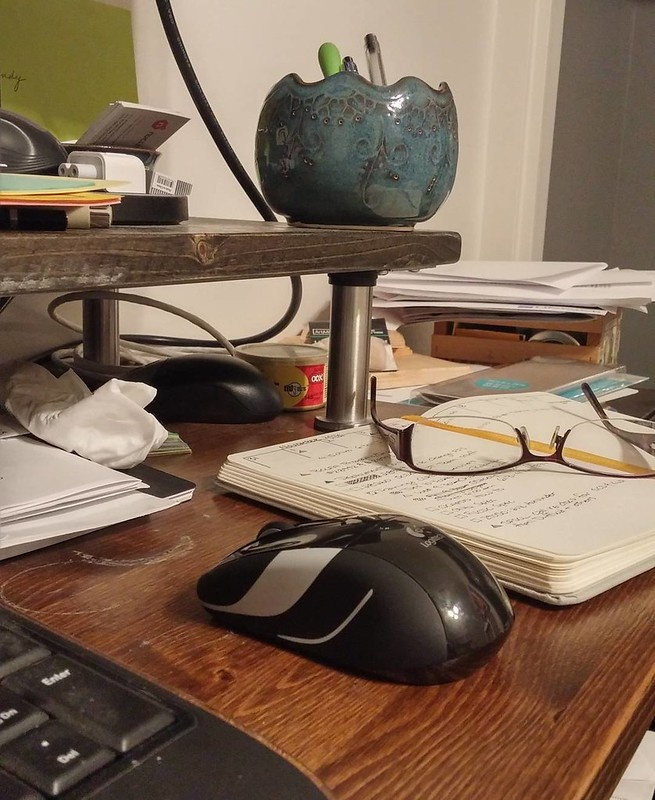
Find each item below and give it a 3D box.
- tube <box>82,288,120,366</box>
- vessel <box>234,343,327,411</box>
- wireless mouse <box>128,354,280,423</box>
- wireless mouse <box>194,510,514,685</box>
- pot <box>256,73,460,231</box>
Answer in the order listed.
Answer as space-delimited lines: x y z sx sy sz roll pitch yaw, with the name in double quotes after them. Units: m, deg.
-0.239 -0.075 0.689 0.022 0.078 0.023 11 32 -3 "tube"
-0.048 -0.030 0.708 0.085 0.044 0.077 5 15 12 "vessel"
-0.112 -0.015 0.611 0.122 0.034 0.061 6 10 6 "wireless mouse"
0.009 0.064 0.267 0.111 0.033 0.059 7 14 29 "wireless mouse"
0.023 -0.208 0.574 0.175 0.098 0.162 2 19 -1 "pot"
